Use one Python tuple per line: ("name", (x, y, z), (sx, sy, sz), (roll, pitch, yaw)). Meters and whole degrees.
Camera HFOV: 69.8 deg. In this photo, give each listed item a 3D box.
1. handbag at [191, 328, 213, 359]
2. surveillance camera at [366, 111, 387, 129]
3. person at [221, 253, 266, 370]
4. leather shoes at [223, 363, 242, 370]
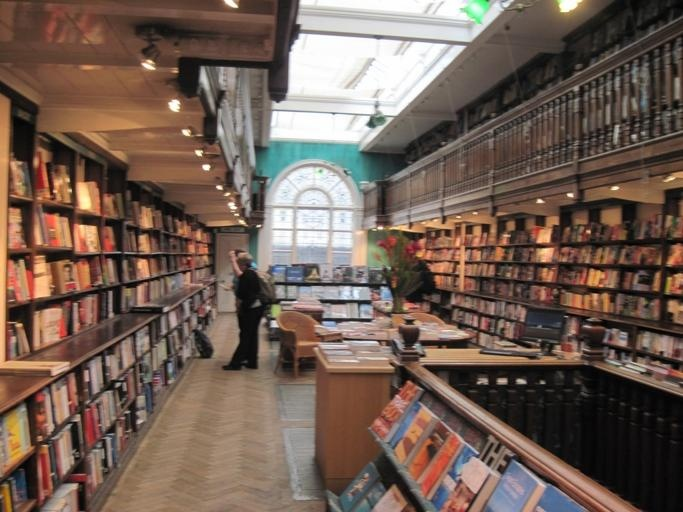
("handbag", (-2.515, 1.562, 8.758), (0.228, 0.503, 0.351), (-34, -10, 15))
("surveillance camera", (0.763, -3.113, 11.016), (0.354, 0.374, 0.488), (2, 5, -1))
("person", (-1.541, 0.891, 7.784), (0.593, 1.821, 0.396), (2, 7, -7))
("leather shoes", (-1.713, 1.752, 7.747), (0.327, 0.080, 0.094), (3, -6, -5))
